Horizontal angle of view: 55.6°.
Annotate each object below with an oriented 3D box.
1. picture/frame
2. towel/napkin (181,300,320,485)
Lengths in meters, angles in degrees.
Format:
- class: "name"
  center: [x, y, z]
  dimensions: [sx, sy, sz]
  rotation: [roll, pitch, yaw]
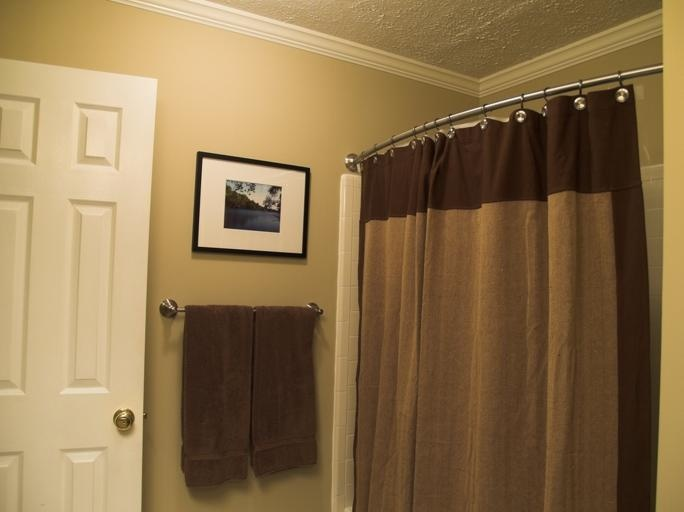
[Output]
- class: "picture/frame"
  center: [-0.443, -0.231, 2.956]
  dimensions: [0.435, 0.417, 0.019]
  rotation: [5, -2, -21]
- class: "towel/napkin"
  center: [-0.424, 0.599, 2.840]
  dimensions: [0.728, 0.848, 0.133]
  rotation: [1, -6, -22]
